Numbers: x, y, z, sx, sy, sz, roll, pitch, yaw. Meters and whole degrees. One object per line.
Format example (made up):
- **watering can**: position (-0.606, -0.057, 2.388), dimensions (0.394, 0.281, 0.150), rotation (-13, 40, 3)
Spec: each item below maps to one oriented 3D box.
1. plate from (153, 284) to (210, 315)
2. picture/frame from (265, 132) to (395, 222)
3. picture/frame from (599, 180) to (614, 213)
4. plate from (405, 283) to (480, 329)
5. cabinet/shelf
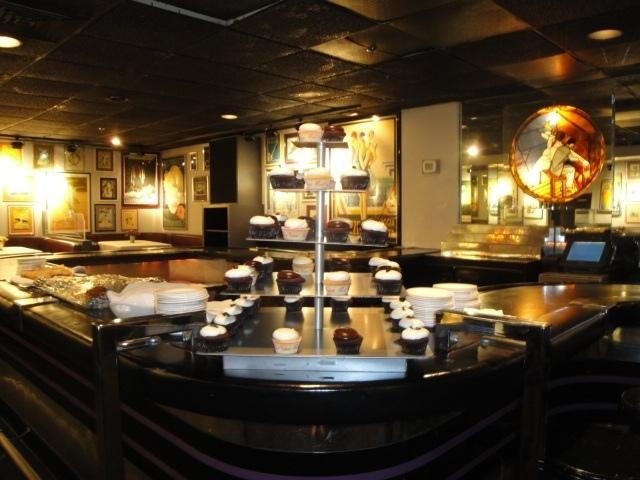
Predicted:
- **plate**: position (-0.560, 0.246, 2.022), dimensions (0.173, 0.051, 0.165), rotation (-1, 2, -10)
- **picture/frame**: position (0.216, -0.654, 5.203), dimensions (2.008, 1.090, 0.078), rotation (3, 7, 31)
- **picture/frame**: position (2.578, -0.398, 4.497), dimensions (0.105, 0.271, 0.115), rotation (5, 13, 25)
- **plate**: position (0.528, 0.280, 2.148), dimensions (0.215, 0.074, 0.241), rotation (-2, 2, -6)
- **cabinet/shelf**: position (0.018, 0.070, 2.318), dimensions (1.077, 0.916, 0.953), rotation (1, 1, 2)
